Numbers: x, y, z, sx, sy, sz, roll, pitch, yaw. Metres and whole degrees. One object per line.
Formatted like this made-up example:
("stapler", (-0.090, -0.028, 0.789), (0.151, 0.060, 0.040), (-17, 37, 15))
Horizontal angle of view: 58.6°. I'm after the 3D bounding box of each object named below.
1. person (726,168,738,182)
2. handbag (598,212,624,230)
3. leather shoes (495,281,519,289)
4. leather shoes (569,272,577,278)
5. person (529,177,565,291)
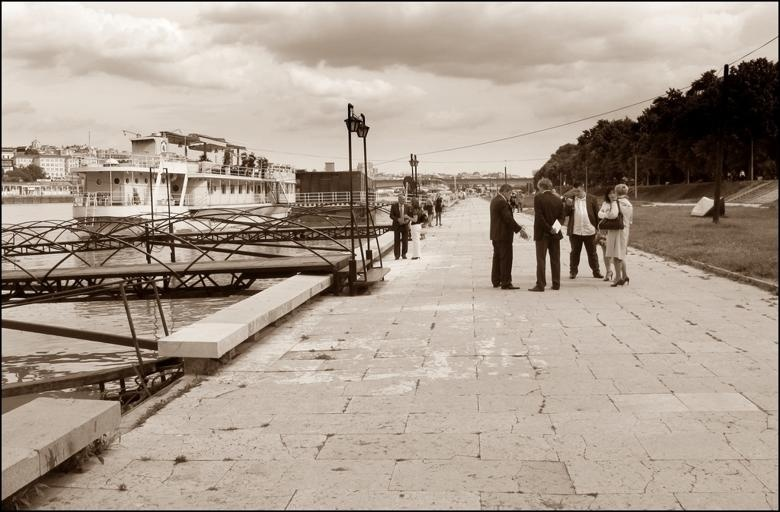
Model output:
("person", (36.598, -8.778, 74.353), (0.960, 1.114, 2.492), (4, 15, 25))
("handbag", (4.666, -0.744, 14.627), (0.385, 0.327, 0.154), (3, 6, 38))
("leather shoes", (2.522, 0.630, 14.925), (0.540, 0.203, 0.171), (-3, 4, -7))
("leather shoes", (4.257, 0.435, 16.192), (0.138, 0.150, 0.403), (-2, -2, 19))
("person", (3.304, -0.462, 14.621), (0.685, 2.410, 1.326), (1, 14, 14))
